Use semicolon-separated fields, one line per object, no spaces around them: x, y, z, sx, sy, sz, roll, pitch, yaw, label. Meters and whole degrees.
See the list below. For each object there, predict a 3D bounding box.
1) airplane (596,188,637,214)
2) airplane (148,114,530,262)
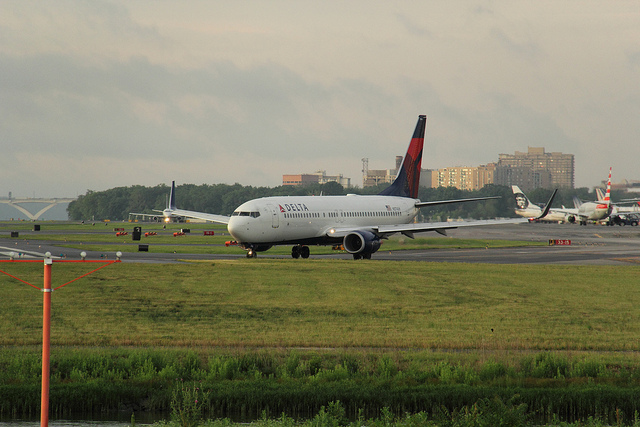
66.396;-2.771;248.074;11.125;4.357;9.697;0;6;0;airplane
1.369;-2.054;87.348;30.604;12.305;25.275;1;0;34;airplane
